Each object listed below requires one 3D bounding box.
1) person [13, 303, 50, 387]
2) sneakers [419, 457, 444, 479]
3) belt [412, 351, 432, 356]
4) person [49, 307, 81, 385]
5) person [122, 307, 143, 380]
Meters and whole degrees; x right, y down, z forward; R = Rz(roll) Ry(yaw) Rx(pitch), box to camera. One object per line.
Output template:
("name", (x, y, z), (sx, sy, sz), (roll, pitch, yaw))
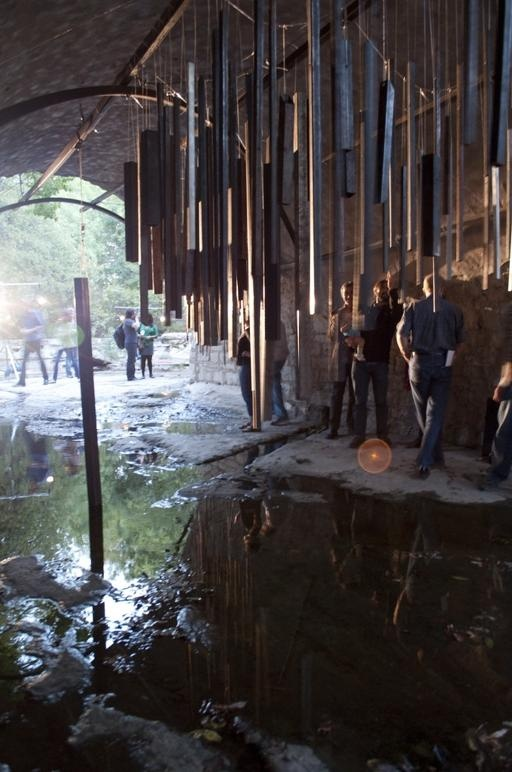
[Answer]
("person", (-4.436, -0.848, 12.541), (0.554, 1.650, 2.035), (-4, 5, -19))
("sneakers", (1.209, 0.576, 4.417), (0.097, 0.139, 0.321), (-6, -15, 27))
("belt", (1.128, -0.227, 4.382), (0.046, 0.057, 0.151), (-4, 5, -27))
("person", (-4.381, -0.999, 14.510), (0.538, 1.614, 4.018), (-3, 5, -17))
("person", (-2.600, -0.871, 13.299), (0.348, 1.499, 1.403), (-3, 4, -11))
